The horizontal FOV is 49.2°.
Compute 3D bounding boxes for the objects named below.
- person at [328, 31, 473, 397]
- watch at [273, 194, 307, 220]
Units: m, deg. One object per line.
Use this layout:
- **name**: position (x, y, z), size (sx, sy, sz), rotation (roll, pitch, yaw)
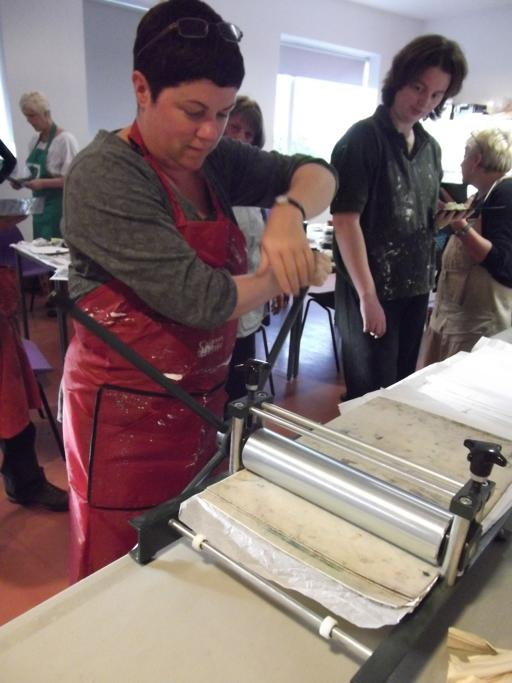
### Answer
- **person**: position (0.445, -0.353, 1.905), size (0.424, 1.215, 0.395), rotation (3, 15, 1)
- **watch**: position (0.062, -0.224, 0.966), size (0.046, 0.012, 0.048), rotation (26, 20, -49)
